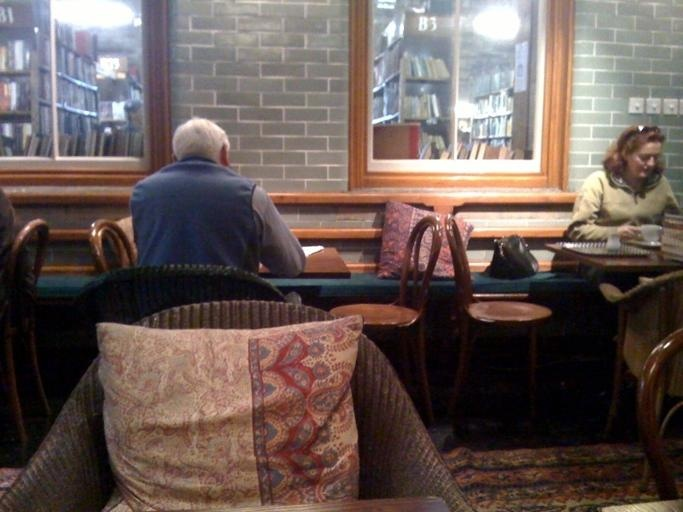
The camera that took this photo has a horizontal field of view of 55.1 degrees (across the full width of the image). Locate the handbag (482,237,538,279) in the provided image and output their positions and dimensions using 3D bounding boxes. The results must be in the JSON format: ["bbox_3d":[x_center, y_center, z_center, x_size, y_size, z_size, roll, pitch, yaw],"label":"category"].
[{"bbox_3d":[0.954,0.008,3.703,0.279,0.202,0.191,0,0,-27],"label":"handbag"}]

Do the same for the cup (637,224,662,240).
[{"bbox_3d":[1.557,-0.122,3.311,0.076,0.064,0.088,0,-2,16],"label":"cup"}]

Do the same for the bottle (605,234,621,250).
[{"bbox_3d":[1.376,-0.068,3.323,0.068,0.068,0.069,-1,0,-17],"label":"bottle"}]

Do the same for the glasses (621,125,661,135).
[{"bbox_3d":[1.612,-0.685,3.570,0.101,0.033,0.107,0,-1,-5],"label":"glasses"}]

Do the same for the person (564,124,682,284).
[{"bbox_3d":[1.530,-0.377,3.861,0.670,0.824,0.587,2,9,5],"label":"person"}]

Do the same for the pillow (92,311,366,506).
[{"bbox_3d":[-0.324,0.451,1.838,0.503,0.412,0.185,-2,-1,-4],"label":"pillow"}]

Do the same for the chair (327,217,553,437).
[{"bbox_3d":[0.475,0.343,3.191,1.015,0.989,0.499,0,3,-4],"label":"chair"}]
